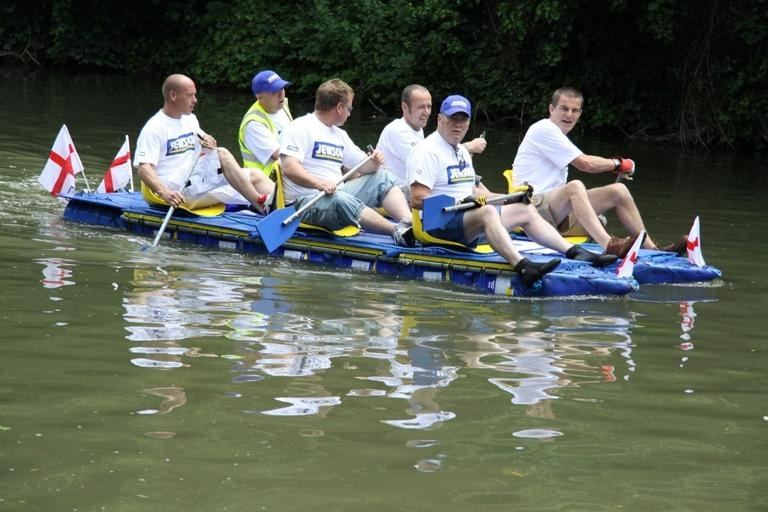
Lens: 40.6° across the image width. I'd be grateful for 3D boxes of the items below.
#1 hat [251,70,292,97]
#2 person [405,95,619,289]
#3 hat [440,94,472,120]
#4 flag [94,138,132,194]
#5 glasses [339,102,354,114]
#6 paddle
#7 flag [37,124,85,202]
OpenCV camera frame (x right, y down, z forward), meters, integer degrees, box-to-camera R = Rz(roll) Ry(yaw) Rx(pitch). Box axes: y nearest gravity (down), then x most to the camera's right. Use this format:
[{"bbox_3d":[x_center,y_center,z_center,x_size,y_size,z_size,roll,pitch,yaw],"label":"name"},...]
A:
[{"bbox_3d":[-1.555,-2.233,13.487,0.538,0.200,0.313,-4,15,14],"label":"hat"},{"bbox_3d":[1.262,-0.756,11.941,1.899,2.100,0.955,6,4,23],"label":"person"},{"bbox_3d":[0.806,-1.720,11.950,0.325,0.275,0.418,4,4,-1],"label":"hat"},{"bbox_3d":[-3.638,-1.211,14.047,0.467,0.751,0.725,4,4,-14],"label":"flag"},{"bbox_3d":[-0.489,-1.797,12.756,0.134,0.119,0.417,5,3,6],"label":"glasses"},{"bbox_3d":[-0.804,-0.662,12.577,1.944,0.349,0.076,-28,0,-29],"label":"paddle"},{"bbox_3d":[-4.258,-1.259,13.819,0.542,0.926,0.402,8,5,31],"label":"flag"}]
